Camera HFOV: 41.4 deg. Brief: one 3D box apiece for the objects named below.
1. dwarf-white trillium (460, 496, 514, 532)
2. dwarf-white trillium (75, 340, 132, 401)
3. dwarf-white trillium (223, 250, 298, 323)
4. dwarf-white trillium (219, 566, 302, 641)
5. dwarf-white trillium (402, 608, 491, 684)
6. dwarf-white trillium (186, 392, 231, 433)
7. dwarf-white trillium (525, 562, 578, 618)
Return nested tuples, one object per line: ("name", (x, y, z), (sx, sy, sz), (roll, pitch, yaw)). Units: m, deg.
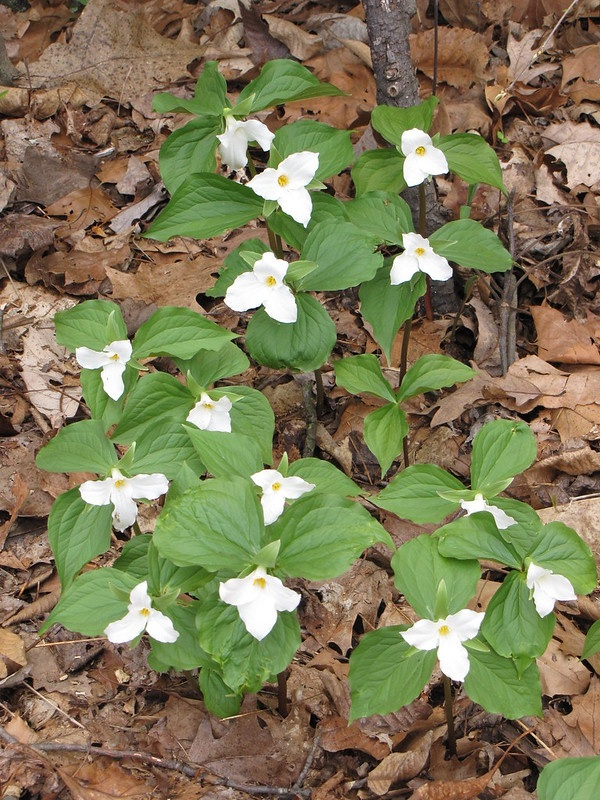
("dwarf-white trillium", (0.647, 0.408, 2.685), (0.150, 0.136, 0.054), (22, 87, -25))
("dwarf-white trillium", (-0.691, -0.104, 2.805), (0.204, 0.212, 0.139), (3, 56, 7))
("dwarf-white trillium", (-0.147, -0.404, 2.852), (0.243, 0.217, 0.189), (-3, 54, 2))
("dwarf-white trillium", (-0.111, 0.563, 2.223), (0.154, 0.203, 0.153), (-36, 60, -19))
("dwarf-white trillium", (0.444, 0.780, 2.512), (0.213, 0.402, 0.188), (24, 61, 20))
("dwarf-white trillium", (-0.322, 0.044, 2.900), (0.150, 0.088, 0.169), (14, 55, 14))
("dwarf-white trillium", (0.799, 0.581, 2.541), (0.164, 0.169, 0.092), (-25, 13, 21))
